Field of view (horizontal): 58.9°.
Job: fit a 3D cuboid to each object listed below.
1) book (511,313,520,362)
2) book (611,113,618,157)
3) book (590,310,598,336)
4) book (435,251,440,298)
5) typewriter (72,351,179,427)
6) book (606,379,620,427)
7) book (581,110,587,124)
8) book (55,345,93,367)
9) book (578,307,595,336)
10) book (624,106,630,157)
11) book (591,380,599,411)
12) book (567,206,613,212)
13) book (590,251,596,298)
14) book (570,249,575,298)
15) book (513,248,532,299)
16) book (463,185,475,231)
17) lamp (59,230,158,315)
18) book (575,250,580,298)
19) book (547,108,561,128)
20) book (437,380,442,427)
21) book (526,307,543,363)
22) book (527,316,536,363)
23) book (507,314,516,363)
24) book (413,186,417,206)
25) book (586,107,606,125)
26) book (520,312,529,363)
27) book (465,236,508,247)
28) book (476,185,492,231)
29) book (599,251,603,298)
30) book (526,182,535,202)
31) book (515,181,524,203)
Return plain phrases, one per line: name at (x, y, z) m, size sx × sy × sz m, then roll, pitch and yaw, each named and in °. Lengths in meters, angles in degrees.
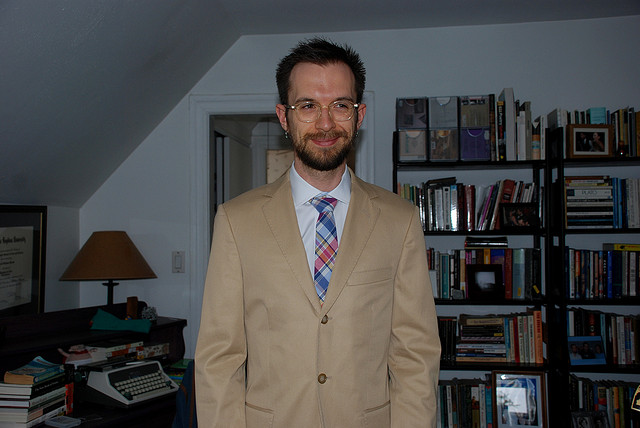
book at (1.464, 0.929, 4.238) m, size 0.049 × 0.236 × 0.224 m, roll 1°, pitch -6°, yaw 7°
book at (2.183, -0.604, 4.203) m, size 0.040 × 0.314 × 0.021 m, roll -3°, pitch -7°, yaw 26°
book at (2.021, 0.798, 4.181) m, size 0.047 × 0.172 × 0.051 m, roll -1°, pitch -7°, yaw 14°
book at (0.887, 0.453, 4.287) m, size 0.034 × 0.339 × 0.016 m, roll 1°, pitch -6°, yaw -5°
typewriter at (-1.236, 1.115, 3.616) m, size 0.467 × 0.311 × 0.495 m, roll -4°, pitch -8°, yaw 29°
book at (2.140, 1.382, 4.116) m, size 0.045 × 0.214 × 0.197 m, roll -6°, pitch 2°, yaw 12°
book at (1.969, -0.733, 4.235) m, size 0.036 × 0.100 × 0.045 m, roll -5°, pitch -8°, yaw 39°
book at (-1.598, 0.896, 3.687) m, size 0.175 × 0.075 × 0.130 m, roll -1°, pitch -3°, yaw 45°
book at (1.997, 0.799, 4.261) m, size 0.124 × 0.187 × 0.191 m, roll -1°, pitch -6°, yaw 9°
book at (2.285, -0.628, 4.214) m, size 0.029 × 0.389 × 0.098 m, roll -3°, pitch -7°, yaw 28°
book at (2.014, 1.323, 4.144) m, size 0.034 × 0.193 × 0.100 m, roll -3°, pitch -7°, yaw 25°
book at (1.979, -0.047, 4.165) m, size 0.317 × 0.038 × 0.020 m, roll 0°, pitch -7°, yaw 6°
book at (2.001, 0.438, 4.170) m, size 0.042 × 0.334 × 0.030 m, roll 0°, pitch -6°, yaw 1°
book at (1.851, 0.431, 4.168) m, size 0.035 × 0.348 × 0.025 m, roll 1°, pitch -6°, yaw -9°
book at (1.520, 0.443, 4.247) m, size 0.178 × 0.343 × 0.342 m, roll 0°, pitch -2°, yaw 13°
book at (1.126, -0.053, 4.281) m, size 0.054 × 0.264 × 0.247 m, roll 3°, pitch -3°, yaw 7°
lamp at (-1.588, 0.428, 4.475) m, size 0.556 × 0.888 × 0.638 m, roll -1°, pitch -3°, yaw -2°
book at (1.889, 0.431, 4.168) m, size 0.036 × 0.339 × 0.024 m, roll 1°, pitch -6°, yaw -8°
book at (1.759, -0.737, 4.287) m, size 0.029 × 0.136 × 0.129 m, roll 4°, pitch 10°, yaw -11°
book at (0.879, 1.417, 4.170) m, size 0.032 × 0.288 × 0.071 m, roll -1°, pitch -6°, yaw 10°
book at (1.624, 0.897, 4.250) m, size 0.062 × 0.291 × 0.266 m, roll 0°, pitch -3°, yaw 10°
book at (1.574, 0.933, 4.230) m, size 0.053 × 0.254 × 0.234 m, roll 1°, pitch -2°, yaw 10°
book at (1.435, 0.930, 4.254) m, size 0.047 × 0.230 × 0.214 m, roll 2°, pitch 0°, yaw 5°
book at (0.731, -0.159, 4.316) m, size 0.037 × 0.133 × 0.025 m, roll 4°, pitch -7°, yaw -27°
book at (2.050, -0.727, 4.246) m, size 0.144 × 0.158 × 0.111 m, roll 1°, pitch 6°, yaw 14°
book at (1.533, 0.931, 4.234) m, size 0.051 × 0.242 × 0.228 m, roll 1°, pitch -2°, yaw 9°
book at (1.257, 0.199, 4.308) m, size 0.307 × 0.078 × 0.050 m, roll -1°, pitch -7°, yaw 10°
book at (1.220, -0.066, 4.260) m, size 0.056 × 0.272 × 0.252 m, roll 7°, pitch -1°, yaw 5°
book at (2.062, 0.436, 4.166) m, size 0.027 × 0.329 × 0.032 m, roll -1°, pitch -6°, yaw 9°
book at (1.577, -0.166, 4.251) m, size 0.021 × 0.168 × 0.121 m, roll 0°, pitch 3°, yaw -15°
book at (1.498, -0.171, 4.268) m, size 0.017 × 0.178 × 0.125 m, roll 16°, pitch 9°, yaw 6°
